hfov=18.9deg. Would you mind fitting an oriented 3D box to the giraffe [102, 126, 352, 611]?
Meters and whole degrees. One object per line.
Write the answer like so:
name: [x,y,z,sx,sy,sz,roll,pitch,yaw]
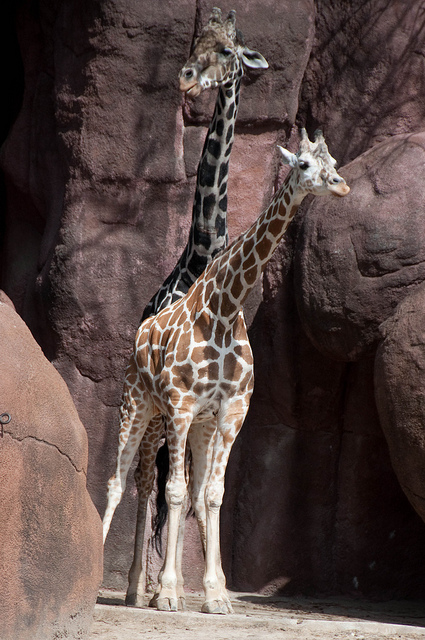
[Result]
giraffe: [-0.061,0.393,6.496,1.034,2.775,1.609,-2,13,-11]
